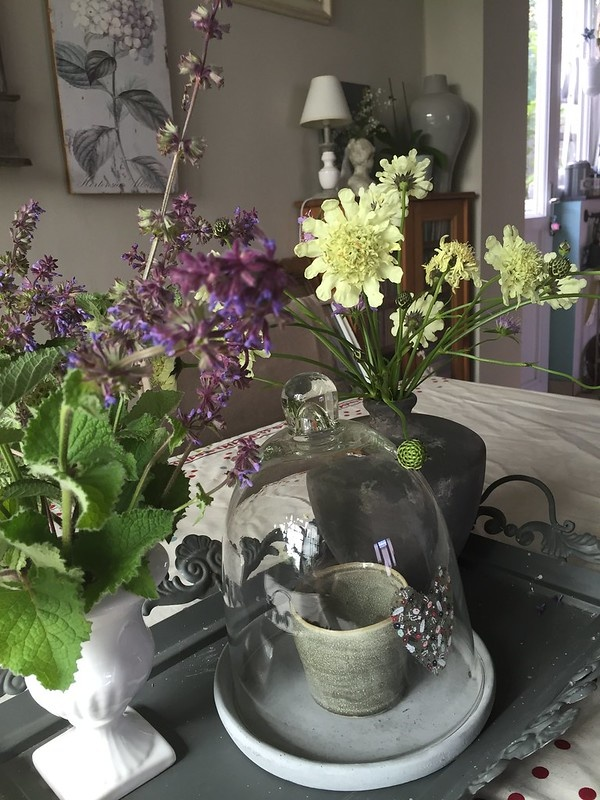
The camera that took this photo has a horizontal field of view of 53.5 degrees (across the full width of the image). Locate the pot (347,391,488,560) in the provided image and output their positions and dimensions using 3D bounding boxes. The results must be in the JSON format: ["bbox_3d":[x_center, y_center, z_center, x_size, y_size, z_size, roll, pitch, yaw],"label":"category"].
[{"bbox_3d":[0.120,0.058,0.628,0.159,0.167,0.149,-12,12,2],"label":"pot"}]

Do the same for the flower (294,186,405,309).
[{"bbox_3d":[0.044,-0.115,0.430,0.070,0.071,0.028,14,43,36],"label":"flower"}]

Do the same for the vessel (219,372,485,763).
[{"bbox_3d":[0.032,0.117,0.468,0.214,0.261,0.204,-3,13,16],"label":"vessel"}]

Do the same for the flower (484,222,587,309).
[{"bbox_3d":[0.190,-0.107,0.500,0.081,0.029,0.081,-20,-14,6],"label":"flower"}]

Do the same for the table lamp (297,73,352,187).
[{"bbox_3d":[0.109,-1.068,2.417,0.205,0.449,0.296,-8,9,4],"label":"table lamp"}]

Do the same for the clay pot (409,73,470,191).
[{"bbox_3d":[0.643,-1.291,2.717,0.230,0.371,0.223,-11,44,10],"label":"clay pot"}]

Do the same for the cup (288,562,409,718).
[{"bbox_3d":[0.032,0.157,0.420,0.086,0.066,0.089,-4,7,1],"label":"cup"}]

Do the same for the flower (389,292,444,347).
[{"bbox_3d":[0.116,-0.075,0.574,0.059,0.015,0.060,23,55,25],"label":"flower"}]
